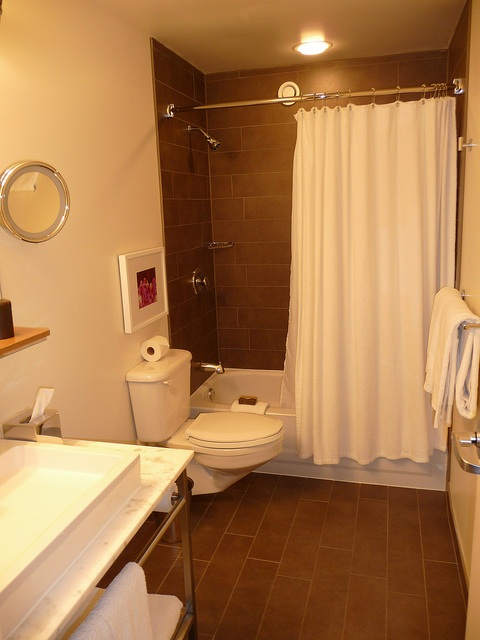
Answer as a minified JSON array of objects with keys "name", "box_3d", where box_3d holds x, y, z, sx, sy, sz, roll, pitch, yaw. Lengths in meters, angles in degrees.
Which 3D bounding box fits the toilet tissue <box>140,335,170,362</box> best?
[{"name":"toilet tissue","box_3d":[-0.397,0.138,2.424,0.113,0.101,0.132,8,14,43]}]

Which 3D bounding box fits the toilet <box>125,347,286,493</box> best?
[{"name":"toilet","box_3d":[-0.150,0.550,2.564,0.715,0.657,0.456,1,10,22]}]

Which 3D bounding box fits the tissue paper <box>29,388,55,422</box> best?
[{"name":"tissue paper","box_3d":[-0.557,0.233,1.419,0.065,0.100,0.052,-8,12,-30]}]
